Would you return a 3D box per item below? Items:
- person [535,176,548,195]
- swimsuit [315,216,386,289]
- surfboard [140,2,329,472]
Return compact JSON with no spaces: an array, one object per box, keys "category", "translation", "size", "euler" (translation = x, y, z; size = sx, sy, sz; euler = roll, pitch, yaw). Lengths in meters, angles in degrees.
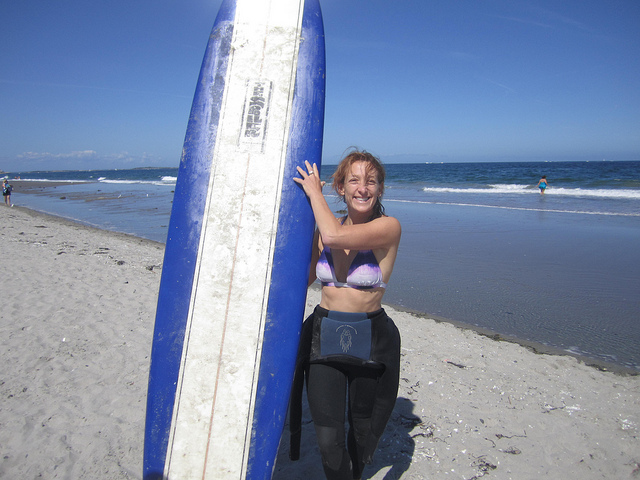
[{"category":"person","translation":[11.591,-2.828,22.926],"size":[0.306,0.938,1.319],"euler":[8,9,24]},{"category":"swimsuit","translation":[0.214,0.122,3.464],"size":[0.496,0.509,0.283],"euler":[4,-3,18]},{"category":"surfboard","translation":[-0.669,0.052,3.998],"size":[1.050,5.514,0.586],"euler":[3,-6,6]}]
